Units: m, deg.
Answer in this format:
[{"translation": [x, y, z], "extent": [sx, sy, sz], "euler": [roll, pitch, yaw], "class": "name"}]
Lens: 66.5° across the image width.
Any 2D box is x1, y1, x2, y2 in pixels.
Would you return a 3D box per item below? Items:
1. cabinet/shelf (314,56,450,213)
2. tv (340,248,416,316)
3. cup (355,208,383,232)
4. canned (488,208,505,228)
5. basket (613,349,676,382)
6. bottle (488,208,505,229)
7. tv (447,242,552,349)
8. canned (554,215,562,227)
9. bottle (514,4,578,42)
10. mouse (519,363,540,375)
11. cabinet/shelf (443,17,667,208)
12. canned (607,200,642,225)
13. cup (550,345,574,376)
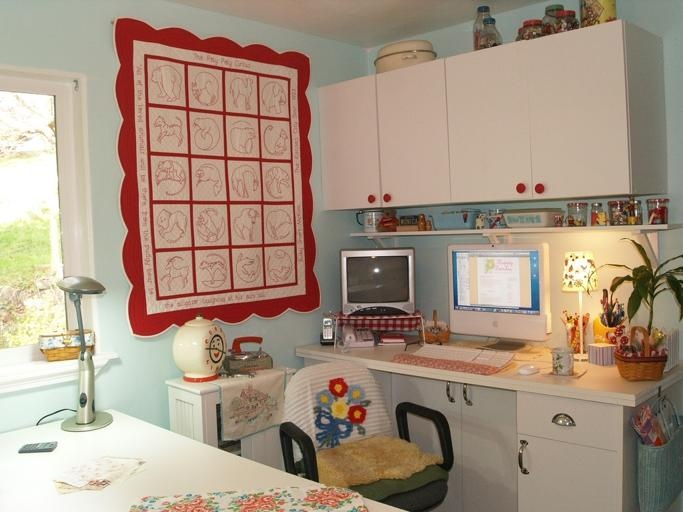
[{"translation": [0.273, -0.762, 3.339], "extent": [1.035, 0.923, 0.375], "euler": [1, 5, 36], "class": "cabinet/shelf"}, {"translation": [0.268, 0.179, 3.581], "extent": [0.515, 0.434, 0.294], "euler": [-2, -1, 8], "class": "tv"}, {"translation": [0.192, -0.253, 3.700], "extent": [0.140, 0.134, 0.190], "euler": [0, 8, 2], "class": "cup"}, {"translation": [0.934, -0.225, 3.129], "extent": [0.104, 0.105, 0.191], "euler": [-1, -2, 12], "class": "canned"}, {"translation": [1.476, 0.535, 2.524], "extent": [0.243, 0.144, 0.107], "euler": [-4, 8, 0], "class": "basket"}, {"translation": [0.934, -0.225, 3.127], "extent": [0.106, 0.108, 0.198], "euler": [0, -2, 12], "class": "bottle"}, {"translation": [0.967, 0.232, 3.098], "extent": [0.619, 0.573, 0.225], "euler": [-1, -1, 34], "class": "tv"}, {"translation": [1.201, -0.192, 2.851], "extent": [0.040, 0.062, 0.055], "euler": [-1, 8, 19], "class": "canned"}, {"translation": [1.095, -1.227, 2.775], "extent": [0.285, 0.278, 0.164], "euler": [2, 9, 30], "class": "bottle"}, {"translation": [0.962, 0.581, 2.660], "extent": [0.051, 0.020, 0.071], "euler": [0, 6, 43], "class": "mouse"}, {"translation": [1.190, -0.777, 2.988], "extent": [1.005, 0.829, 0.543], "euler": [5, 18, 42], "class": "cabinet/shelf"}, {"translation": [1.476, -0.225, 2.705], "extent": [0.141, 0.134, 0.145], "euler": [0, 4, 21], "class": "canned"}, {"translation": [1.105, 0.524, 2.595], "extent": [0.131, 0.132, 0.110], "euler": [0, 1, 15], "class": "cup"}]
